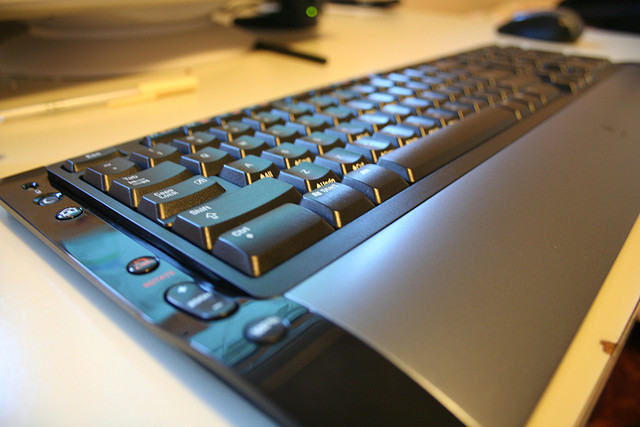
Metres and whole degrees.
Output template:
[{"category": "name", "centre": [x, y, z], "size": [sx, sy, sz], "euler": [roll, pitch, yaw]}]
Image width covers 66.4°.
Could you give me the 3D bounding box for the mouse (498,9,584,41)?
[{"category": "mouse", "centre": [0.464, -0.386, 1.006], "size": [0.120, 0.033, 0.088], "euler": [13, 29, 33]}]
